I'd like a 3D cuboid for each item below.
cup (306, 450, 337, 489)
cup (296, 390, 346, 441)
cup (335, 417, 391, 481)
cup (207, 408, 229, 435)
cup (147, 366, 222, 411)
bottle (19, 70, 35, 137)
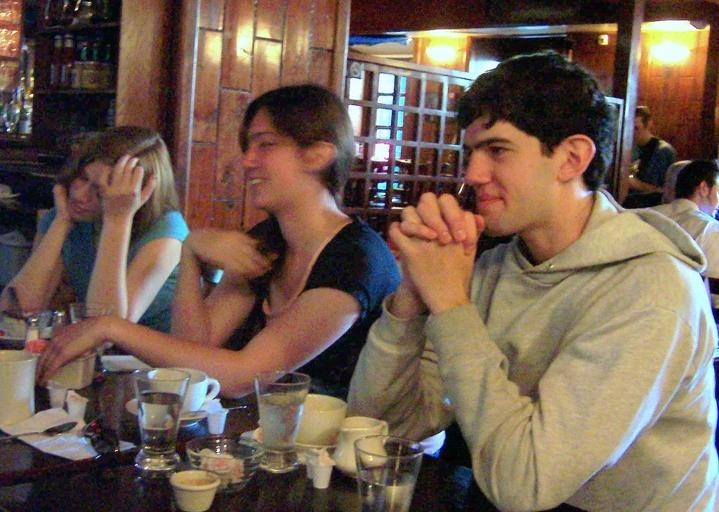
[{"bbox_3d":[-0.081,0.432,1.219,0.071,0.069,0.064,3,-11,-22],"label":"cup"},{"bbox_3d":[-0.104,0.384,1.375,0.146,0.103,0.141,0,4,0],"label":"cup"},{"bbox_3d":[0.028,0.417,1.301,0.157,0.105,0.117,0,-4,-32],"label":"cup"},{"bbox_3d":[-0.332,0.384,1.395,0.056,0.037,0.050,-2,2,-13],"label":"cup"},{"bbox_3d":[-0.400,0.311,1.418,0.151,0.094,0.113,13,3,-8],"label":"cup"},{"bbox_3d":[-1.666,-0.805,2.983,0.075,0.332,0.077,9,15,-2],"label":"bottle"}]
